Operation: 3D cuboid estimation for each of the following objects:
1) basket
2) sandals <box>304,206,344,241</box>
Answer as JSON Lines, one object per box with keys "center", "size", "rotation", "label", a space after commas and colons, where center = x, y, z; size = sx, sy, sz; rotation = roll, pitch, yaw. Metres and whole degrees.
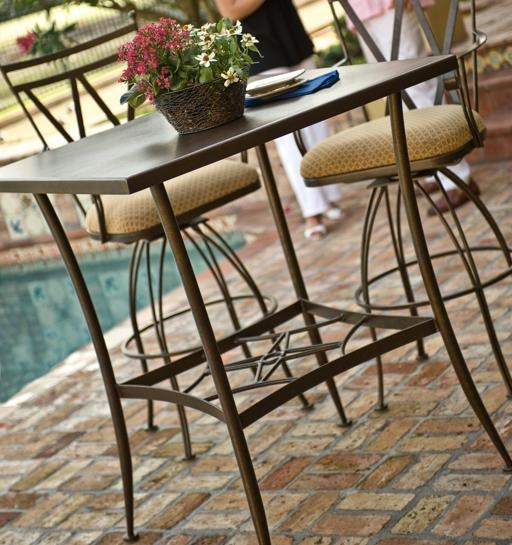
{"center": [-0.102, -0.343, 1.259], "size": [0.192, 0.090, 0.103], "rotation": [-17, 15, 0], "label": "basket"}
{"center": [0.428, -0.315, 3.915], "size": [0.308, 0.215, 0.221], "rotation": [-5, 24, 5], "label": "sandals"}
